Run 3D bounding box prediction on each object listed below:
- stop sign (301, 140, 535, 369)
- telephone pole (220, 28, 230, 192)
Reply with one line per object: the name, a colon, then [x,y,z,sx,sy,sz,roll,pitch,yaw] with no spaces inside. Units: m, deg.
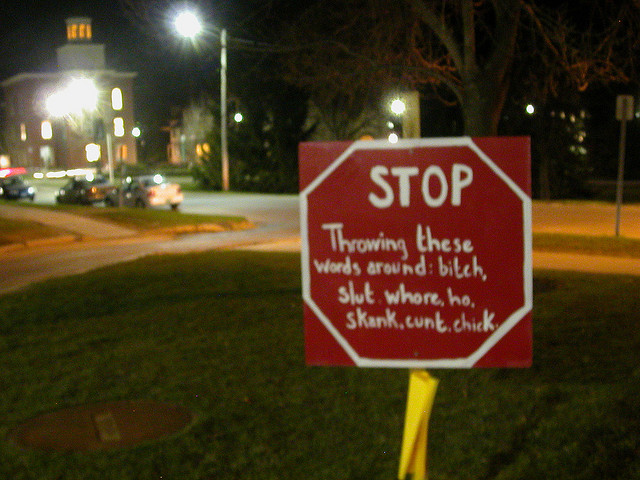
stop sign: [0.649,0.066,4.123,1.103,1.396,0.170,2,7,-3]
telephone pole: [-5.922,-8.159,40.162,0.404,8.513,0.425,5,8,19]
